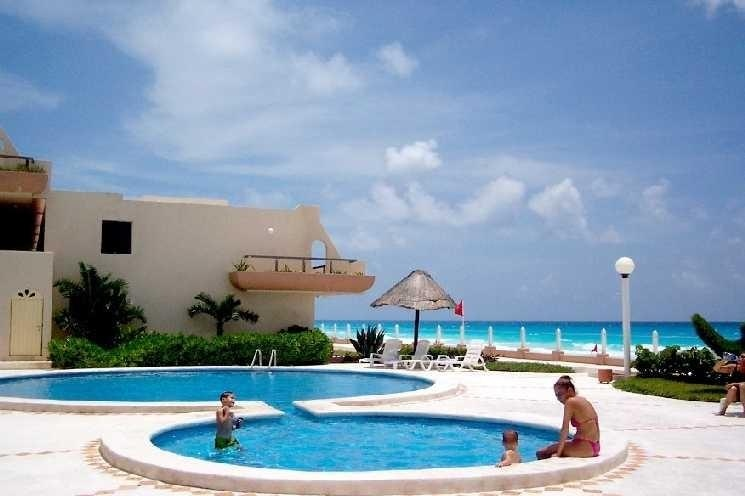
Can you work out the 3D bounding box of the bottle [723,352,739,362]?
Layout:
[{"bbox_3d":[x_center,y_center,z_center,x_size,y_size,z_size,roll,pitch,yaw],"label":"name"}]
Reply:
[{"bbox_3d":[9.386,2.836,16.431,0.689,0.280,0.228,10,-10,-31],"label":"bottle"}]

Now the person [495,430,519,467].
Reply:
[{"bbox_3d":[2.510,3.651,11.552,0.383,0.576,1.033,0,-7,13],"label":"person"}]

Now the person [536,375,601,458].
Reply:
[{"bbox_3d":[3.756,3.060,11.421,0.864,1.468,0.518,1,-7,2],"label":"person"}]

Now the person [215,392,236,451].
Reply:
[{"bbox_3d":[-3.095,3.615,13.277,0.446,1.211,0.893,3,-7,-12],"label":"person"}]
